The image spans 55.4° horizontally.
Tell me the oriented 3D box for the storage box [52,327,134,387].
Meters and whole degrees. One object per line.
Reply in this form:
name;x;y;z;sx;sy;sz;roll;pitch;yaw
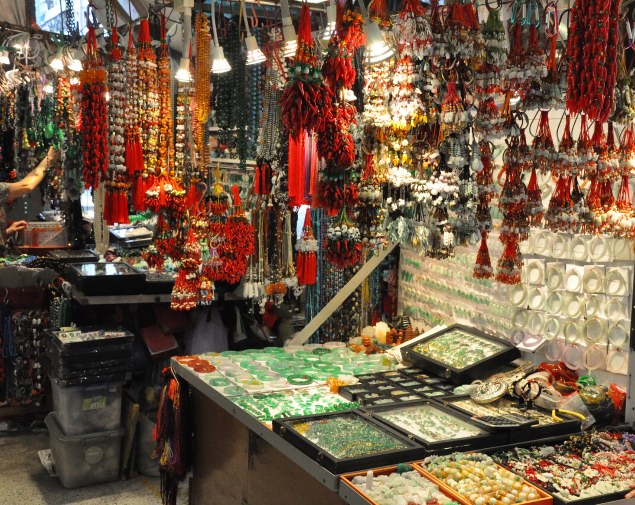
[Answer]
storage box;-1.761;0.785;4.660;0.601;0.368;0.465;-5;10;-27

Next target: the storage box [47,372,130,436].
storage box;-1.743;1.091;4.634;0.474;0.343;0.392;-1;6;-32

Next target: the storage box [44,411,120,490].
storage box;-1.762;1.469;4.592;0.420;0.383;0.461;4;4;-35

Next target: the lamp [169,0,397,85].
lamp;-0.181;-1.003;2.746;1.131;0.387;0.323;6;10;35

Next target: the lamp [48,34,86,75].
lamp;-1.782;-1.393;4.234;0.203;0.303;0.779;-4;10;-24
